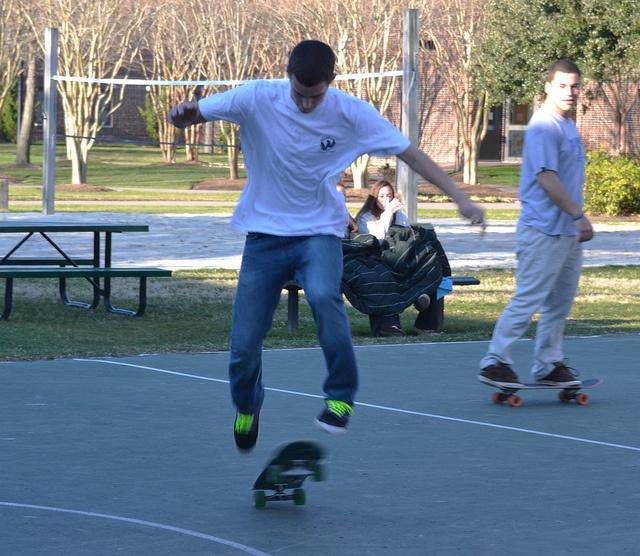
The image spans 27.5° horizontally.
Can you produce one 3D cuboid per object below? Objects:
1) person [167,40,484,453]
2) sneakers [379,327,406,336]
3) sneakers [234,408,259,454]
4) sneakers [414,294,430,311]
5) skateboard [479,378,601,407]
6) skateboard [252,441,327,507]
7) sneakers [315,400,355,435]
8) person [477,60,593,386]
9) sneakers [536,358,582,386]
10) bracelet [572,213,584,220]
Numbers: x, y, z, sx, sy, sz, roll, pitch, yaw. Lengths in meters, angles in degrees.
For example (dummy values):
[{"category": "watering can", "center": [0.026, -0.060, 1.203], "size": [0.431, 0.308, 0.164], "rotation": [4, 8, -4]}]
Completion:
[{"category": "person", "center": [-0.066, -0.149, 7.238], "size": [1.343, 2.259, 0.704], "rotation": [3, 13, -5]}, {"category": "sneakers", "center": [0.673, 0.487, 12.027], "size": [0.249, 0.073, 0.079], "rotation": [-1, 2, -4]}, {"category": "sneakers", "center": [-0.412, 0.851, 7.356], "size": [0.117, 0.237, 0.109], "rotation": [2, 4, -1]}, {"category": "sneakers", "center": [0.943, 0.213, 12.037], "size": [0.090, 0.184, 0.082], "rotation": [34, 2, -29]}, {"category": "skateboard", "center": [1.580, 0.795, 9.201], "size": [1.056, 0.159, 0.260], "rotation": [0, 4, -10]}, {"category": "skateboard", "center": [-0.113, 0.957, 6.920], "size": [0.290, 0.138, 0.524], "rotation": [0, 5, 3]}, {"category": "sneakers", "center": [0.077, 0.754, 7.175], "size": [0.198, 0.174, 0.130], "rotation": [4, 12, 1]}, {"category": "person", "center": [1.622, -0.360, 9.150], "size": [0.960, 2.205, 0.805], "rotation": [-1, 0, -44]}, {"category": "sneakers", "center": [1.678, 0.703, 9.378], "size": [0.397, 0.134, 0.134], "rotation": [-3, -9, 39]}, {"category": "bracelet", "center": [1.761, -0.422, 8.850], "size": [0.058, 0.014, 0.056], "rotation": [-22, 5, 9]}]
